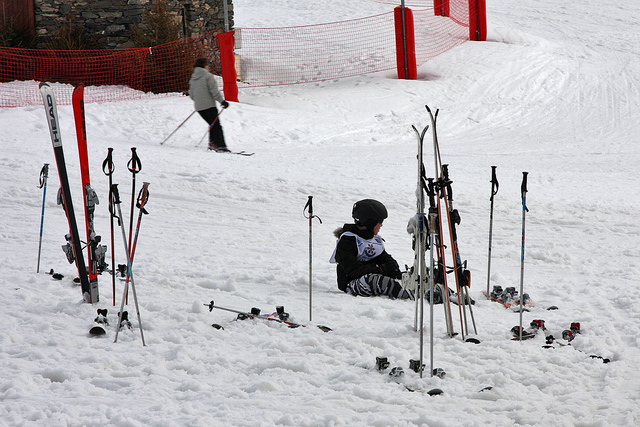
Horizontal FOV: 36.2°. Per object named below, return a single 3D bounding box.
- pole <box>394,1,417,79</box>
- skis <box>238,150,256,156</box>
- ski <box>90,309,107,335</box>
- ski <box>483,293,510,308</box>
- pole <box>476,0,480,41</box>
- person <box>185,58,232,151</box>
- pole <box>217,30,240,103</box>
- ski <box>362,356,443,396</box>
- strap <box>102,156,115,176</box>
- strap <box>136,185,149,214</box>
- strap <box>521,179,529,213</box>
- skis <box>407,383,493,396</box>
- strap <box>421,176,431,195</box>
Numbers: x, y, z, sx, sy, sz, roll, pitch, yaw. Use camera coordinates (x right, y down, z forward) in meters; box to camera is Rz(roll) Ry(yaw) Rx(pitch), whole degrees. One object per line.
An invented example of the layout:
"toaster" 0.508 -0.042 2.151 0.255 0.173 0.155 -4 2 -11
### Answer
"pole" 2.005 -4.135 23.359 0.538 1.822 0.729 4 10 12
"skis" -1.378 -1.148 18.530 0.306 0.039 0.608 1 9 -4
"ski" -2.976 1.466 13.149 0.215 0.279 0.275 0 10 -9
"ski" 2.504 1.237 13.824 0.365 0.045 0.053 28 35 32
"pole" 4.159 -5.122 25.884 0.128 1.014 0.455 4 10 11
"person" -2.100 -2.055 18.465 0.712 1.696 0.652 0 10 -9
"pole" -2.016 -3.234 21.504 0.505 1.558 0.774 1 10 -6
"ski" 1.080 2.140 12.676 0.927 0.231 0.185 27 22 31
"strap" -2.865 -0.652 13.110 0.252 0.311 0.082 3 2 24
"strap" -2.383 -0.172 12.946 0.108 0.365 0.249 2 13 -13
"strap" 3.001 -0.239 14.389 0.097 0.559 0.105 1 3 39
"skis" 1.685 2.284 12.618 1.065 0.136 0.135 1 10 -4
"strap" 1.361 -0.372 12.768 0.044 0.307 0.059 -21 19 3
